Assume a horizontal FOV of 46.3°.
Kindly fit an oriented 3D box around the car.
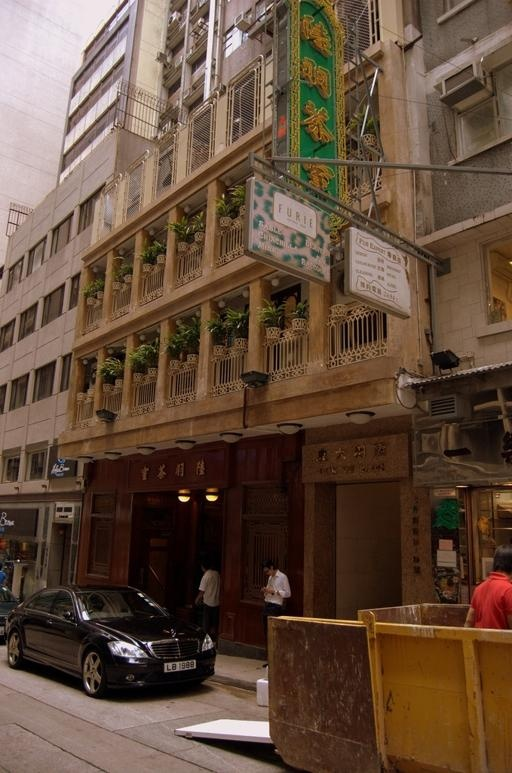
[{"bbox_3d":[-2.203,3.485,8.376,1.330,0.998,3.175,21,-30,-33],"label":"car"}]
